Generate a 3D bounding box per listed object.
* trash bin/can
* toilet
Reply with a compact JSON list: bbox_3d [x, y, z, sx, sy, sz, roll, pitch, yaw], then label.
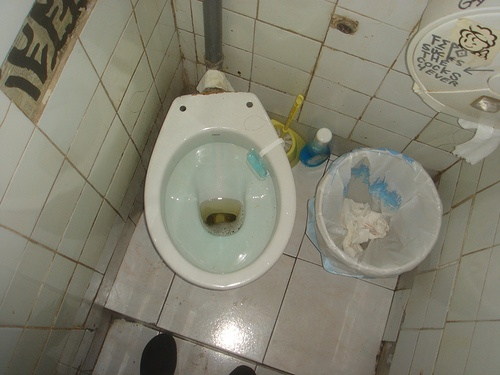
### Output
[{"bbox_3d":[0.456,0.069,1.451,0.402,0.374,0.511,2,86,6],"label":"trash bin/can"},{"bbox_3d":[-0.105,0.041,1.407,0.422,0.420,0.650,7,78,-2],"label":"toilet"}]
